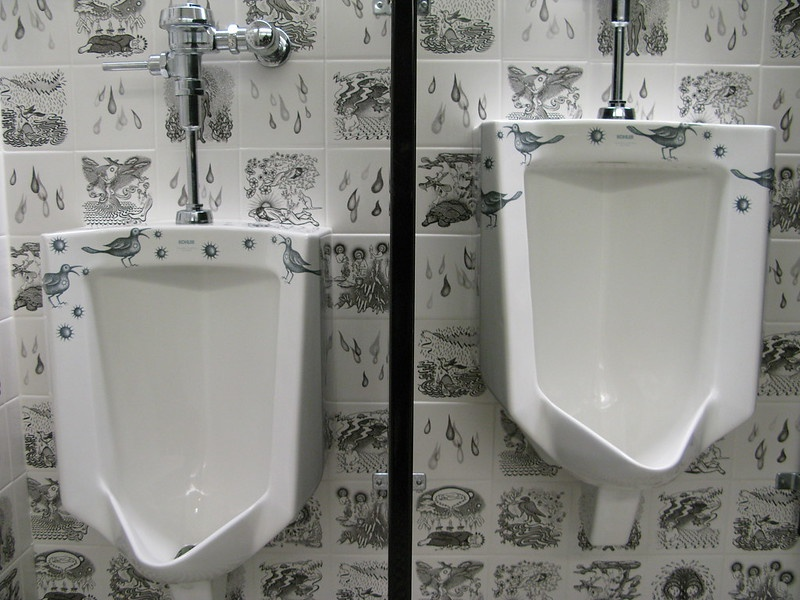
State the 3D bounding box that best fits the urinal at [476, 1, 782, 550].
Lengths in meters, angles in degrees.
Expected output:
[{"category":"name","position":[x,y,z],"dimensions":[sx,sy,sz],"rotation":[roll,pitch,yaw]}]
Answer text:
[{"category":"urinal","position":[0.398,-0.006,1.476],"dimensions":[0.516,0.657,0.241],"rotation":[2,18,5]}]
